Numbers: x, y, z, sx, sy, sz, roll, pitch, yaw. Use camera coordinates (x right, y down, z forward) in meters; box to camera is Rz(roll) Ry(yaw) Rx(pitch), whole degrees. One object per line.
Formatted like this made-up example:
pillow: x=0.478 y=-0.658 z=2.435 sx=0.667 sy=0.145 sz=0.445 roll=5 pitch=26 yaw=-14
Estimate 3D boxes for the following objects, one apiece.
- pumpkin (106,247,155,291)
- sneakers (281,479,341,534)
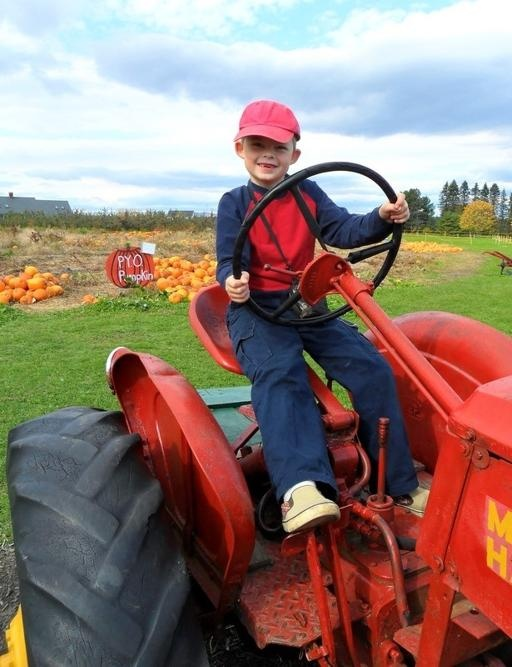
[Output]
pumpkin: x=-2.198 y=-1.108 z=8.164 sx=0.704 sy=0.771 sz=0.502 roll=-7 pitch=19 yaw=-19
sneakers: x=0.123 y=0.463 z=1.262 sx=0.125 sy=0.102 sz=0.245 roll=-10 pitch=-19 yaw=-15
